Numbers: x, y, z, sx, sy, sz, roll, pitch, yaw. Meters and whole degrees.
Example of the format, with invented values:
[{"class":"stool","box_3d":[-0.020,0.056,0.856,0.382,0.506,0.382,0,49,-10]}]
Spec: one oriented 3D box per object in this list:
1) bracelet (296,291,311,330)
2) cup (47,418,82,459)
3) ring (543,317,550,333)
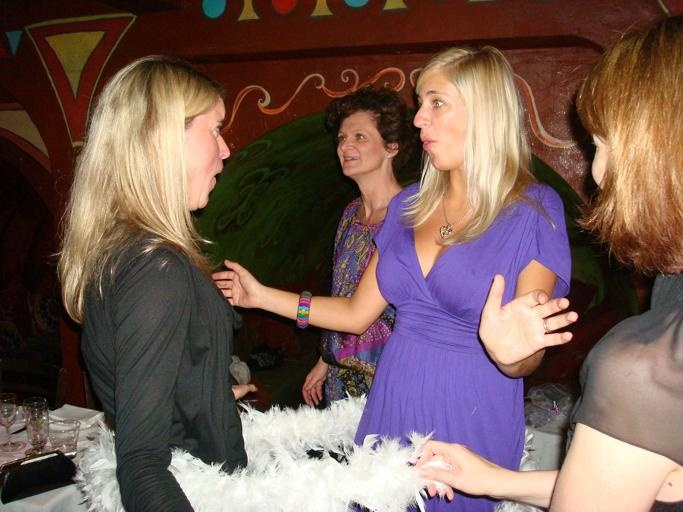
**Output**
[{"class":"bracelet","box_3d":[-0.163,0.242,2.425,0.041,0.128,0.089,7,2,-7]},{"class":"cup","box_3d":[-1.297,0.848,2.640,0.147,0.150,0.133,2,6,-2]},{"class":"ring","box_3d":[0.600,0.207,1.664,0.012,0.028,0.033,0,49,13]}]
